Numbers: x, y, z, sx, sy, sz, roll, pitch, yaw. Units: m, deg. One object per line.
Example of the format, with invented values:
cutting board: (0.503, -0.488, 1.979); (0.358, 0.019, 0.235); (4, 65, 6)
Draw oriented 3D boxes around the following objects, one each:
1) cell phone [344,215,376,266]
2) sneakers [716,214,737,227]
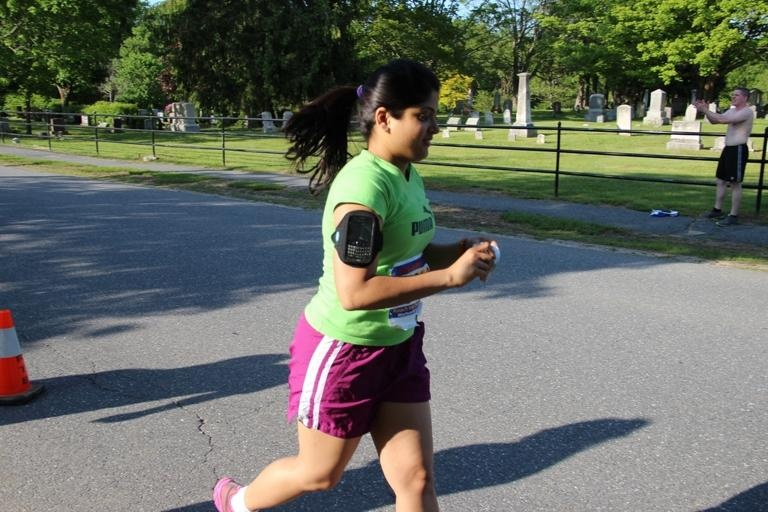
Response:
cell phone: (-0.088, -0.063, 2.092); (0.187, 0.166, 0.055); (4, -2, 2)
sneakers: (6.201, -0.646, 10.016); (0.634, 0.169, 0.181); (-5, 27, -10)
